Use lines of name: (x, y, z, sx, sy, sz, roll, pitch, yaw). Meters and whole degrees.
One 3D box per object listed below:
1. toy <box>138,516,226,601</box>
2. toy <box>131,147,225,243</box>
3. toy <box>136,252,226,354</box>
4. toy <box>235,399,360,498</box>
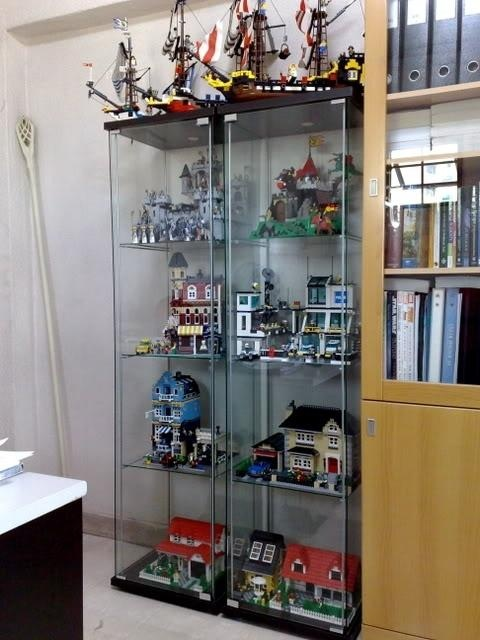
toy: (-0.193, 0.910, 2.378, 0.258, 0.188, 0.289, 0, 6, 23)
toy: (-0.240, -0.450, 2.367, 0.406, 0.325, 0.117, 5, 8, 40)
toy: (-0.220, -0.062, 2.403, 0.347, 0.441, 0.140, 2, 3, 29)
toy: (0.231, 0.354, 2.168, 0.373, 0.284, 0.266, 1, 2, 30)
